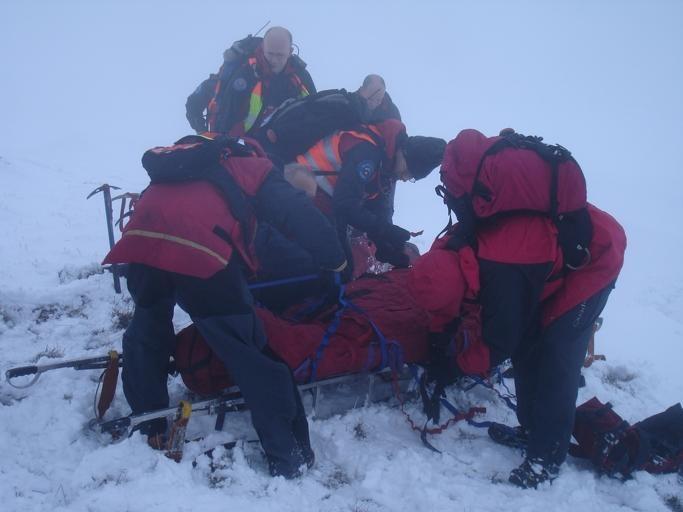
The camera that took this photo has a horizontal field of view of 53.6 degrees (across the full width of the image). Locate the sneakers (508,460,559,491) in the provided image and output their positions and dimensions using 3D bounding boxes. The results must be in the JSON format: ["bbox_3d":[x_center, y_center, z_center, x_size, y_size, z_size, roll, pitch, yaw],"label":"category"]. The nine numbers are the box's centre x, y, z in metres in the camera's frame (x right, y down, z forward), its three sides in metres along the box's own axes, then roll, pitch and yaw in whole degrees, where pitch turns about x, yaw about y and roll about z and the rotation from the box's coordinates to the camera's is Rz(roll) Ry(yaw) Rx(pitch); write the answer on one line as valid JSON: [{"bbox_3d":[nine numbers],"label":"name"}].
[{"bbox_3d":[1.657,1.881,5.809,0.341,0.112,0.236,-13,45,17],"label":"sneakers"}]
